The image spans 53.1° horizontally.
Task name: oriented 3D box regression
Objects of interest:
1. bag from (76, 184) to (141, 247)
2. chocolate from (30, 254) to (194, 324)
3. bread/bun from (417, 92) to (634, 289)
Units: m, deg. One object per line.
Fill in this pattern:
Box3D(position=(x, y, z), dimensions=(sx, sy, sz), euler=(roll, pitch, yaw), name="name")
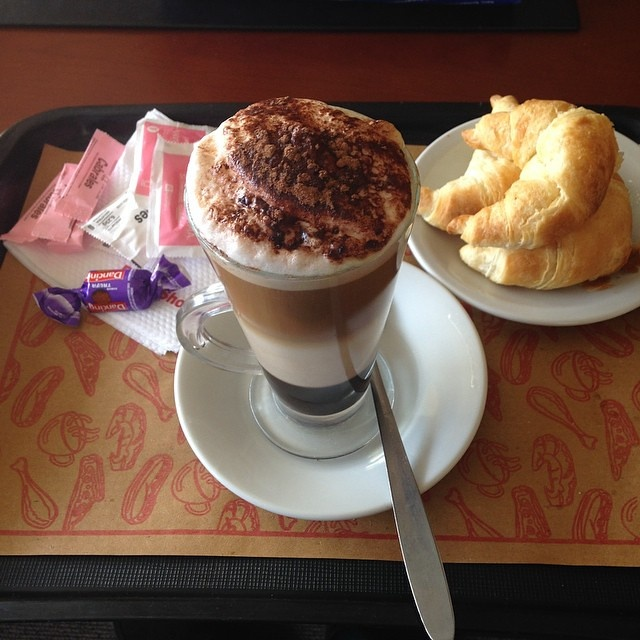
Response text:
Box3D(position=(-0.402, -0.197, 1.234), dimensions=(0.078, 0.022, 0.115), euler=(38, 60, 15), name="bag")
Box3D(position=(-0.363, -0.051, 1.125), dimensions=(0.212, 0.049, 0.115), euler=(-17, 40, -17), name="chocolate")
Box3D(position=(0.358, -0.193, 1.069), dimensions=(0.432, 0.116, 0.312), euler=(-11, 65, 0), name="bread/bun")
